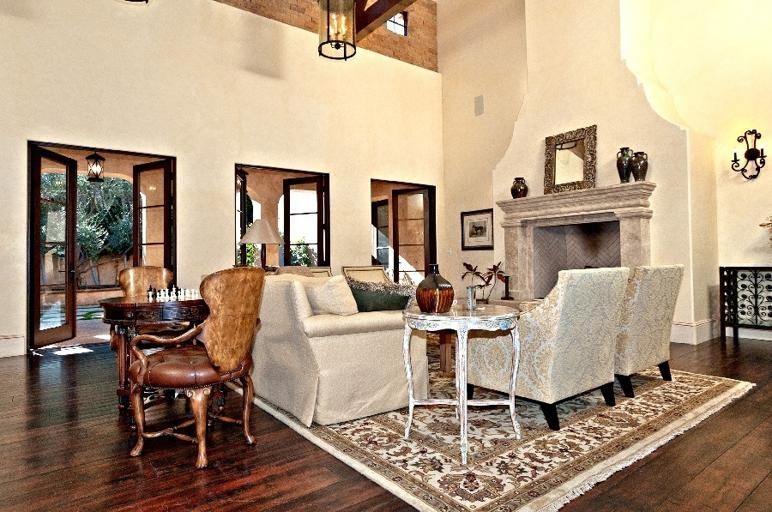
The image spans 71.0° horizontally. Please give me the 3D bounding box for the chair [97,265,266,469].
[{"bbox_3d":[-1.602,0.948,5.635,1.568,2.211,1.580,-1,-2,26],"label":"chair"}]

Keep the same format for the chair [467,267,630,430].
[{"bbox_3d":[1.598,0.799,5.605,1.294,1.728,1.563,1,0,-40],"label":"chair"}]

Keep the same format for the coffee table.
[{"bbox_3d":[0.718,1.087,5.175,1.235,1.417,1.263,4,-5,-45],"label":"coffee table"}]

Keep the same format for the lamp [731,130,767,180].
[{"bbox_3d":[5.071,-1.401,7.572,0.414,0.707,0.101,0,3,30],"label":"lamp"}]

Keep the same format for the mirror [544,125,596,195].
[{"bbox_3d":[2.753,-1.447,8.166,0.768,0.959,0.191,0,3,35],"label":"mirror"}]

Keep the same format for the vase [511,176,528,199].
[{"bbox_3d":[2.107,-1.082,8.790,0.325,0.392,0.336,2,-1,5],"label":"vase"}]

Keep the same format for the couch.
[{"bbox_3d":[-0.532,0.864,5.696,1.460,1.322,1.502,-1,2,-28],"label":"couch"}]

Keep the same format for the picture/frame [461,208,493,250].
[{"bbox_3d":[1.670,-0.490,9.904,0.065,0.811,0.790,3,-4,-42],"label":"picture/frame"}]

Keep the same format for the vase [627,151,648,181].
[{"bbox_3d":[3.487,-1.234,7.473,0.223,0.427,0.249,0,3,28],"label":"vase"}]

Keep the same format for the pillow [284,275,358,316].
[{"bbox_3d":[-0.539,0.388,5.139,0.508,0.380,0.191,-2,3,-5],"label":"pillow"}]
